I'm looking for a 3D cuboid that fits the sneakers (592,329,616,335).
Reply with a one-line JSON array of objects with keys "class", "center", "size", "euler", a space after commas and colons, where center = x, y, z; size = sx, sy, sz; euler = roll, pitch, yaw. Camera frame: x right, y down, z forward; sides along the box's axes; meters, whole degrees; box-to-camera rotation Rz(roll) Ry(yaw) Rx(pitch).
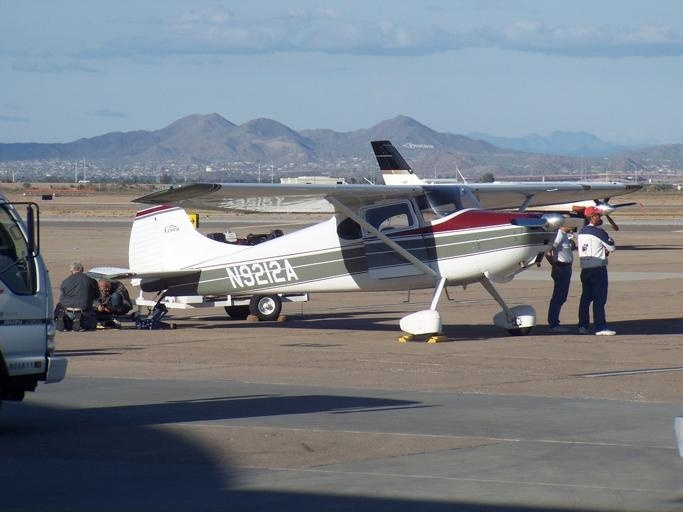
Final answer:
[{"class": "sneakers", "center": [4.217, 1.225, 17.411], "size": [0.355, 0.082, 0.100], "euler": [-2, -2, 8]}]
